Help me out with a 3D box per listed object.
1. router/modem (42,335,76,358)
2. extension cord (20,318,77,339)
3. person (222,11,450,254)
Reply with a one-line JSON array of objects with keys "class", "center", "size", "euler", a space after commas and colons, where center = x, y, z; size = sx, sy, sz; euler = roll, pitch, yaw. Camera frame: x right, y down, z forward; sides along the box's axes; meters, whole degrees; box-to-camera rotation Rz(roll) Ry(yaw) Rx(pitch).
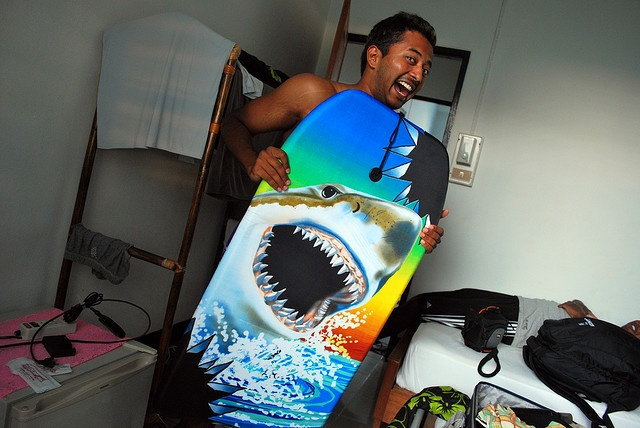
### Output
[{"class": "router/modem", "center": [-1.152, 0.585, 1.814], "size": [0.149, 0.064, 0.095], "euler": [15, 3, 35]}, {"class": "extension cord", "center": [-1.246, 0.517, 1.886], "size": [0.155, 0.038, 0.084], "euler": [3, 8, -36]}, {"class": "person", "center": [0.041, -0.300, 2.014], "size": [0.791, 1.186, 0.635], "euler": [2, 14, -4]}]
